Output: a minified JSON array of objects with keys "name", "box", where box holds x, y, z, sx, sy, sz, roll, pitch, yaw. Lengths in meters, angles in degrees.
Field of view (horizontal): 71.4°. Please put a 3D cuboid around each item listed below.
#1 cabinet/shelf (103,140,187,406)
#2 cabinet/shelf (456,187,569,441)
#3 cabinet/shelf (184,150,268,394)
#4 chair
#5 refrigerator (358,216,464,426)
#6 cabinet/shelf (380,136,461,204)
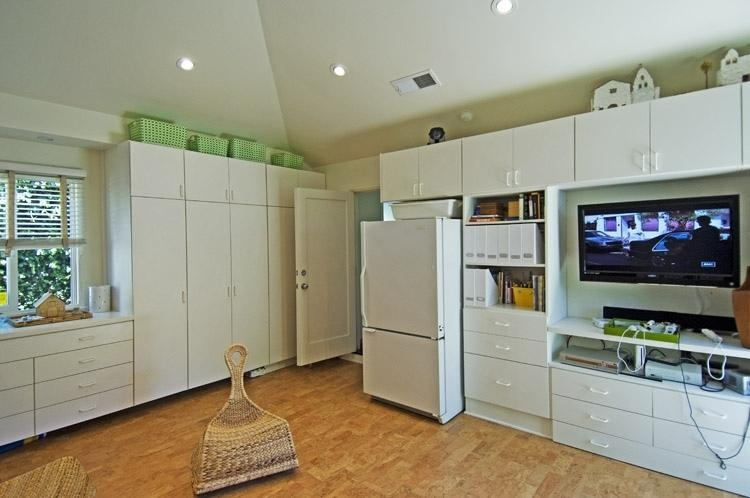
[{"name":"cabinet/shelf","box":[-2.402,0.229,5.689,0.711,2.737,0.358,-6,4,-42]},{"name":"cabinet/shelf","box":[1.360,0.603,5.281,0.908,2.388,0.425,-1,4,35]},{"name":"cabinet/shelf","box":[-1.731,0.231,6.229,0.938,2.387,0.304,-1,12,-18]},{"name":"chair","box":[-1.317,1.682,5.066,1.133,1.265,0.742,1,-10,-35]},{"name":"refrigerator","box":[0.319,0.716,5.517,0.978,2.045,0.301,-1,4,33]},{"name":"cabinet/shelf","box":[0.402,-0.869,5.805,1.018,0.572,0.342,-11,24,-26]}]
